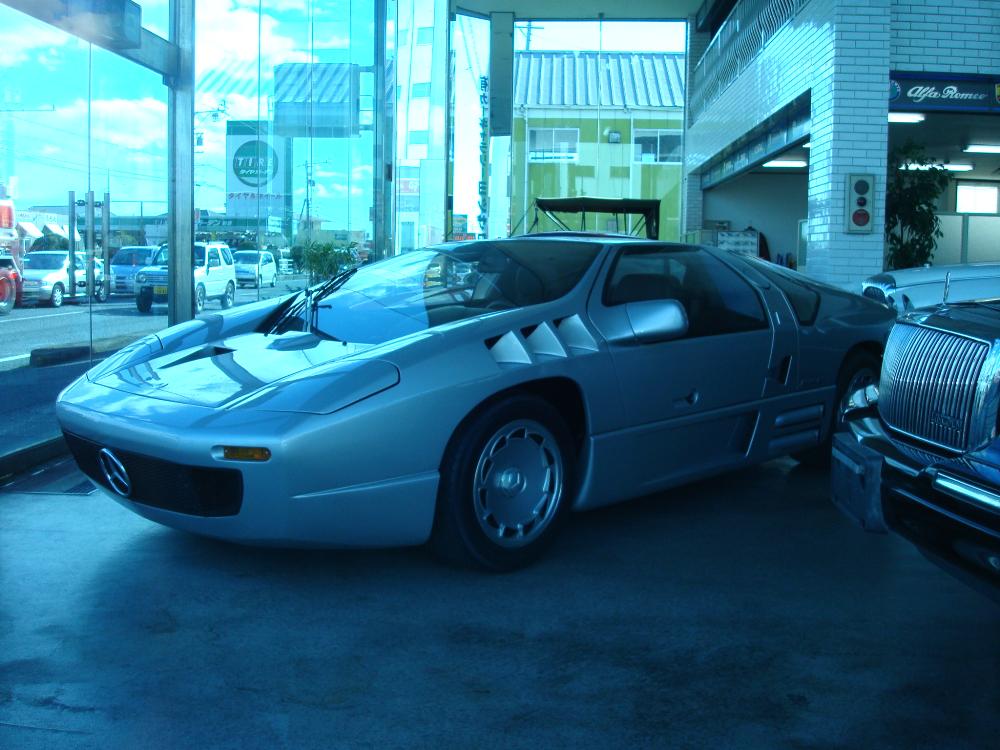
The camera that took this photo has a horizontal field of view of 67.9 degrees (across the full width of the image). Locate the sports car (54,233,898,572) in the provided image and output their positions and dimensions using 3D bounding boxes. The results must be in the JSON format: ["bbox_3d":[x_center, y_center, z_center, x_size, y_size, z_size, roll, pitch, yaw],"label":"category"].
[{"bbox_3d":[0.168,0.051,4.077,3.624,1.098,2.035,-4,8,-39],"label":"sports car"}]
